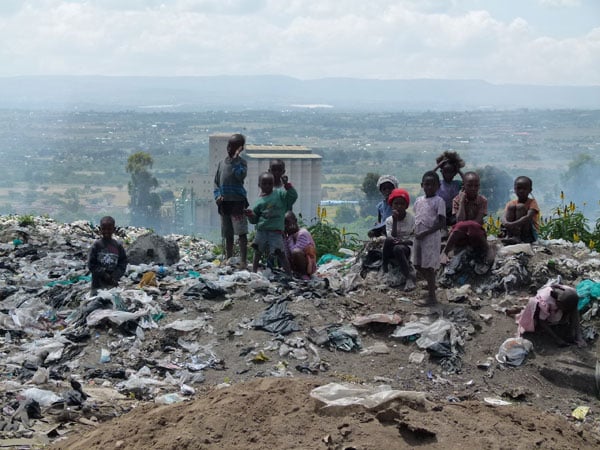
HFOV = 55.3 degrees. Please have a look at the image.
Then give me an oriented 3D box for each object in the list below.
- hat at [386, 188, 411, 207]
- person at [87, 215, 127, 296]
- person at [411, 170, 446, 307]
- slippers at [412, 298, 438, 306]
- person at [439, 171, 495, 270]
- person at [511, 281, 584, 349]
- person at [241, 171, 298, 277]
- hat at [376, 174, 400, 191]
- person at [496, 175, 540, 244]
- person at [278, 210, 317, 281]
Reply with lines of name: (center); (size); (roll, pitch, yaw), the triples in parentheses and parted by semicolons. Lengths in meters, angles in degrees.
hat: (1.312, -0.358, 7.503); (0.222, 0.206, 0.283); (5, -5, 9)
person: (-2.478, 0.376, 7.367); (0.459, 0.989, 0.282); (-3, 7, -20)
person: (1.560, 0.157, 6.963); (0.369, 1.630, 0.490); (1, 7, 10)
slippers: (1.524, 0.935, 6.963); (0.202, 0.073, 0.106); (3, -1, 12)
person: (2.208, -0.031, 7.486); (0.634, 1.309, 0.510); (1, 7, 17)
person: (2.779, 0.920, 6.465); (0.734, 0.504, 0.964); (-2, 5, -6)
person: (-0.400, -0.036, 8.137); (0.722, 1.434, 0.450); (-1, 7, -3)
hat: (1.257, -0.628, 8.162); (0.217, 0.219, 0.261); (3, 6, 6)
person: (3.072, -0.219, 7.920); (0.519, 0.919, 0.490); (1, 7, 10)
person: (-0.048, 0.335, 8.355); (0.663, 1.080, 0.915); (1, -14, -13)
